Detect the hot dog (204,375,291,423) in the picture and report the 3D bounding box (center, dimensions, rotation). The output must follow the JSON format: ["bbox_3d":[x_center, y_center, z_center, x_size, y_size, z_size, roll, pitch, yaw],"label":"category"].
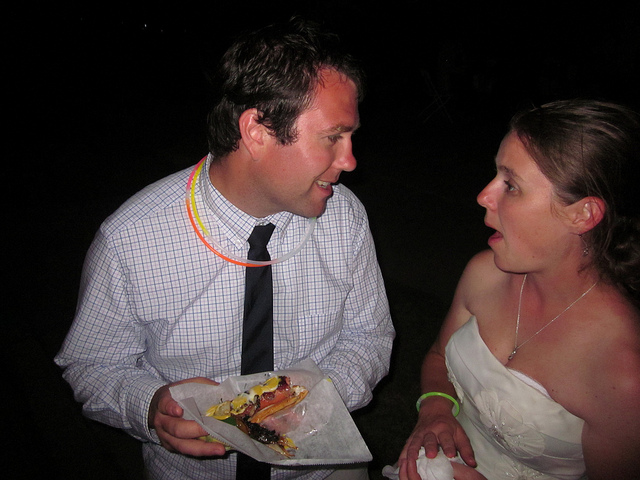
[{"bbox_3d":[-0.293,0.667,2.389,0.372,0.097,0.095,-11,23,-27],"label":"hot dog"}]

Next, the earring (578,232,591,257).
[{"bbox_3d":[1.218,0.024,2.627,0.061,0.111,0.013,2,21,8],"label":"earring"}]

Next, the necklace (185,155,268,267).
[{"bbox_3d":[-0.474,-0.121,2.652,0.234,0.472,0.381,-18,26,-38],"label":"necklace"}]

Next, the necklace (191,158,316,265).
[{"bbox_3d":[-0.332,-0.104,2.692,0.480,0.531,0.382,-10,18,-41],"label":"necklace"}]

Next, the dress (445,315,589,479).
[{"bbox_3d":[0.971,0.768,2.743,0.460,0.808,0.653,-18,17,-24],"label":"dress"}]

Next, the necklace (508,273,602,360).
[{"bbox_3d":[1.168,0.395,2.841,0.355,0.316,0.333,9,15,36],"label":"necklace"}]
